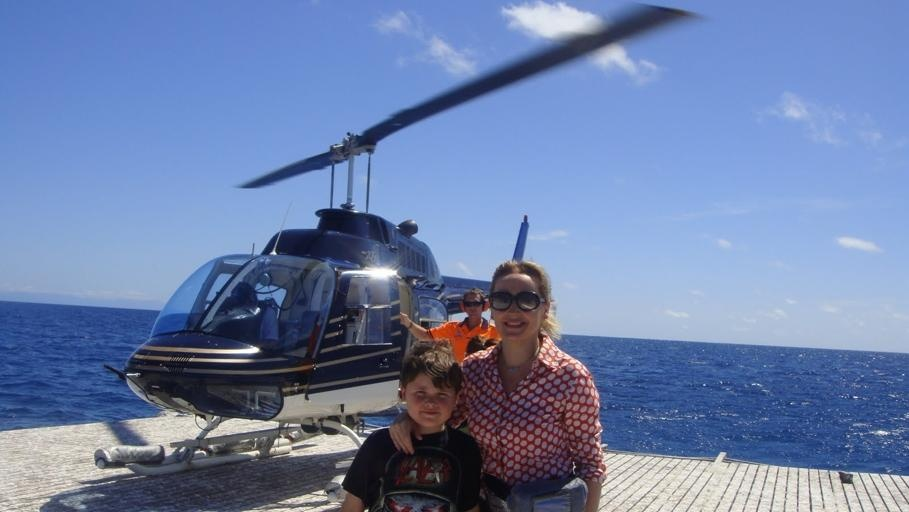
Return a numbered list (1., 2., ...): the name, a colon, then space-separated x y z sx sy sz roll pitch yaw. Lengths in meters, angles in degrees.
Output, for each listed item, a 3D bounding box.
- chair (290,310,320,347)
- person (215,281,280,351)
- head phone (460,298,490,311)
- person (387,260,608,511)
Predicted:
1. chair: -2.453 1.197 9.290 0.649 0.644 0.498 2 -4 -2
2. person: -3.383 0.983 9.183 1.263 0.986 0.801 12 -16 -16
3. head phone: 0.335 0.818 9.345 0.379 0.307 0.126 -2 5 6
4. person: 0.791 1.315 5.779 1.483 2.472 0.440 6 -9 -1
